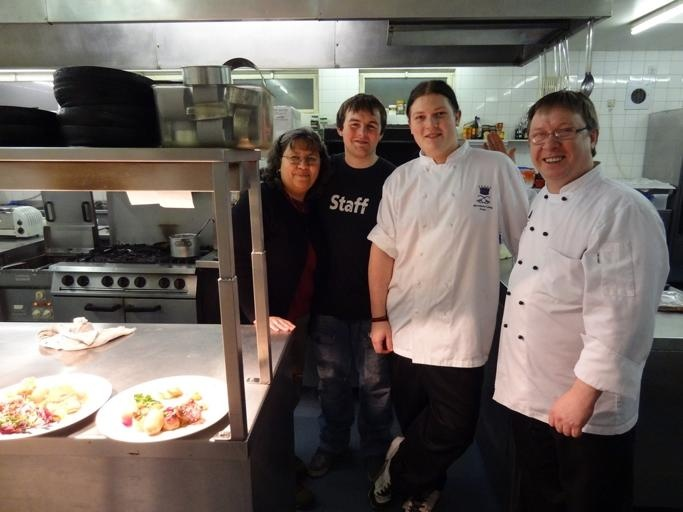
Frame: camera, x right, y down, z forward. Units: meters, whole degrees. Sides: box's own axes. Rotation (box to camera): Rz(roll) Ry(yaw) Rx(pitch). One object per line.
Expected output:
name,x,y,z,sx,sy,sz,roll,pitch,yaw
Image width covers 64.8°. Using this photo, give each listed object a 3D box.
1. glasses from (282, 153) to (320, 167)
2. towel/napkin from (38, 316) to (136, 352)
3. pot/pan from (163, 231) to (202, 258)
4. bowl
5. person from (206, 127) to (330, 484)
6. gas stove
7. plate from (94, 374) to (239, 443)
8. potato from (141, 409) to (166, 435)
glasses,-0.188,-0.447,2.544,0.163,0.057,0.051,-5,11,-9
towel/napkin,-0.997,0.296,2.089,0.343,0.102,0.158,-4,10,-4
pot/pan,-1.045,-0.085,3.657,0.161,0.128,0.171,-3,12,-16
bowl,-0.370,-0.409,1.589,0.261,0.203,0.274,2,17,-1
person,-0.225,0.276,2.530,0.486,1.723,0.573,-5,11,-12
gas stove,-1.406,0.117,3.653,0.982,0.274,0.456,-3,10,3
plate,-0.570,0.490,1.735,0.399,0.103,0.260,-5,11,-12
potato,-0.575,0.511,1.650,0.060,0.073,0.040,4,-21,-3
